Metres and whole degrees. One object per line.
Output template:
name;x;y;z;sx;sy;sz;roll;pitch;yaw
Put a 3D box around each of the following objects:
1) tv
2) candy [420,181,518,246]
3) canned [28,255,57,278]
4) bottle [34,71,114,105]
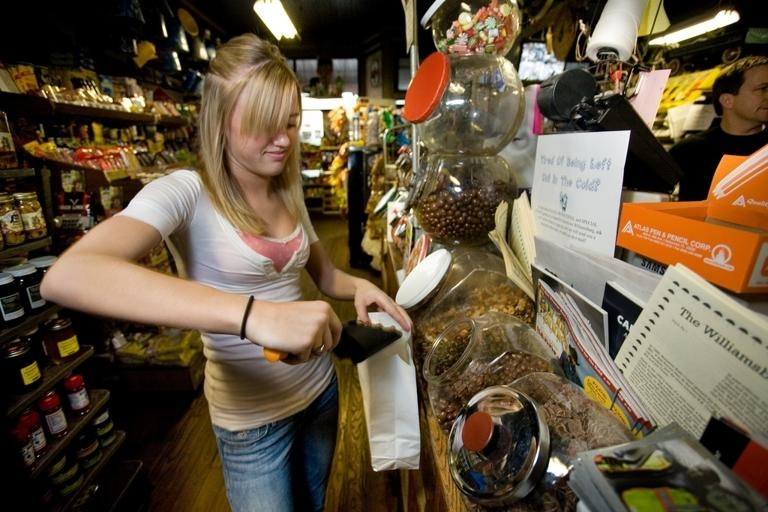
tv;0.651;-0.275;1.155;0.073;0.254;0.247;-36;32;-15
candy;0.264;-0.144;1.519;0.249;0.134;0.232;-6;5;-34
canned;-1.390;0.045;1.807;0.075;0.081;0.077;11;12;26
bottle;-1.823;-0.979;2.581;0.292;0.153;0.401;-1;8;-10
